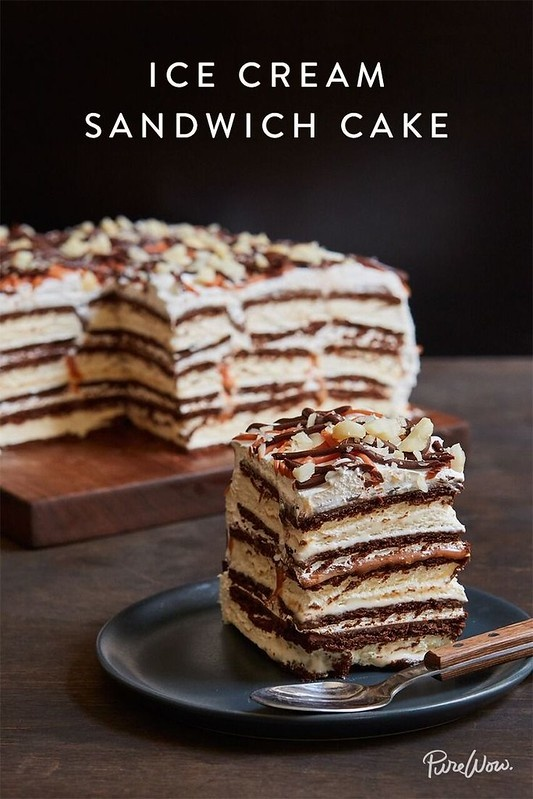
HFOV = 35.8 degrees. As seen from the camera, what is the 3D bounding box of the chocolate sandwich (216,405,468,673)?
[{"bbox_3d":[0.133,0.151,1.131,0.325,0.334,0.320,-4,6,-33],"label":"chocolate sandwich"}]
